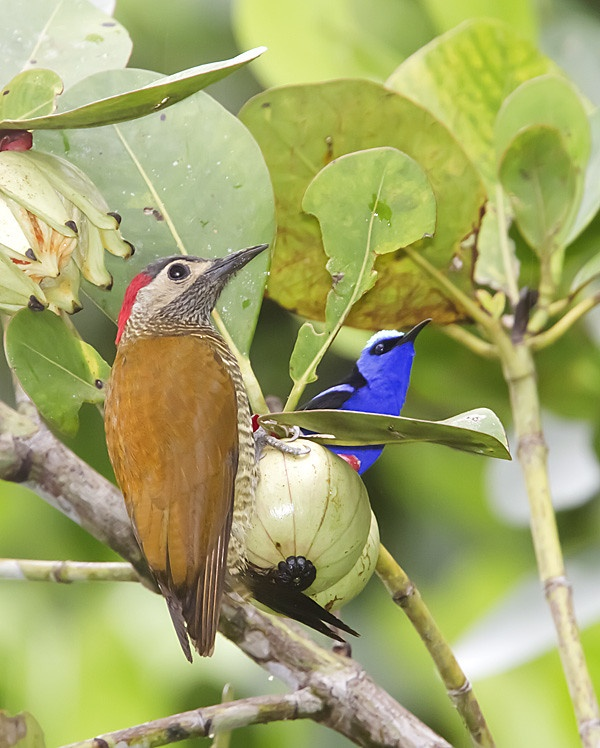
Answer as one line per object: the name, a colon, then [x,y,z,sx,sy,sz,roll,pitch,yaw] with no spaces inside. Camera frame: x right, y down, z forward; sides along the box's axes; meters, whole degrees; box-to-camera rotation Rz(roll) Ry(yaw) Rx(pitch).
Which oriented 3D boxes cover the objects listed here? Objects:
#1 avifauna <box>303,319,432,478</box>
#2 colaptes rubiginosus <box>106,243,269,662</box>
avifauna: [0.062,0.026,1.037,0.146,0.162,0.082,12,14,41]
colaptes rubiginosus: [-0.080,0.064,0.841,0.174,0.104,0.339,-10,87,5]
